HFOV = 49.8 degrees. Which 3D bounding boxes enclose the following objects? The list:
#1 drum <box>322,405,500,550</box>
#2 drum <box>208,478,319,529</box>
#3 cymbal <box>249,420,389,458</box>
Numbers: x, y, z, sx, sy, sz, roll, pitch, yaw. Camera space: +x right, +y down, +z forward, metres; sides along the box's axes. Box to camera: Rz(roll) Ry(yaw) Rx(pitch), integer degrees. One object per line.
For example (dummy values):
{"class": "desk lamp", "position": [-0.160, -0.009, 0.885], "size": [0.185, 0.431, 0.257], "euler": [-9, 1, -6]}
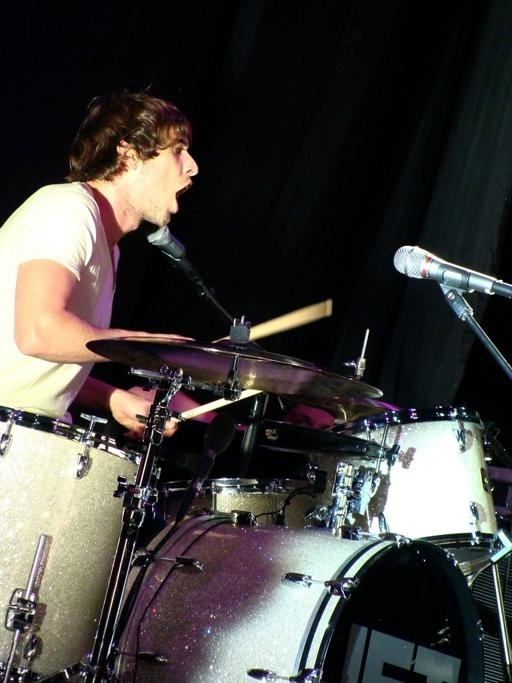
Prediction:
{"class": "drum", "position": [0.559, 0.444, 1.957], "size": [0.488, 0.363, 0.502], "euler": [4, -26, 2]}
{"class": "drum", "position": [0.011, 0.447, 1.674], "size": [0.230, 0.221, 0.228], "euler": [-1, -7, 23]}
{"class": "cymbal", "position": [0.217, 0.328, 1.870], "size": [0.261, 0.066, 0.258], "euler": [17, -10, -9]}
